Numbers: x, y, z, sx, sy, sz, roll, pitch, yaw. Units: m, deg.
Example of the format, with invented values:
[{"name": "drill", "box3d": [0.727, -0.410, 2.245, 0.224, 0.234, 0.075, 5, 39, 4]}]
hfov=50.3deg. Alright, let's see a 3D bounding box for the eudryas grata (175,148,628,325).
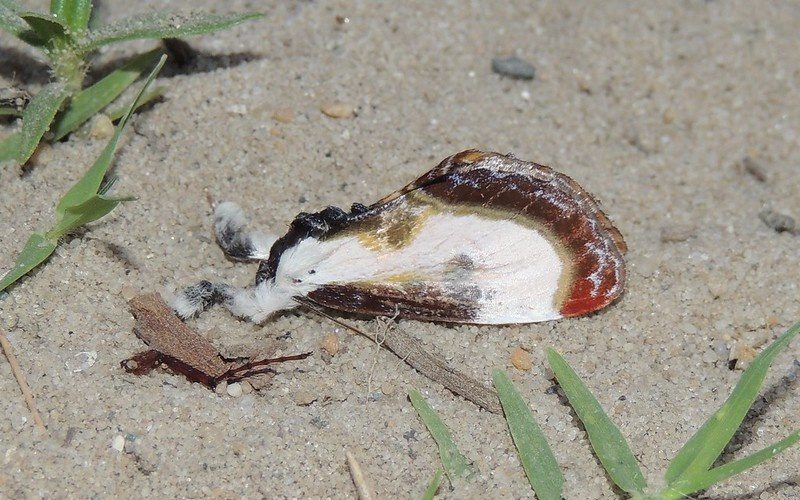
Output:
[{"name": "eudryas grata", "box3d": [0.054, 0.013, 3.683, 1.830, 0.320, 0.789, -4, 82, -2]}]
